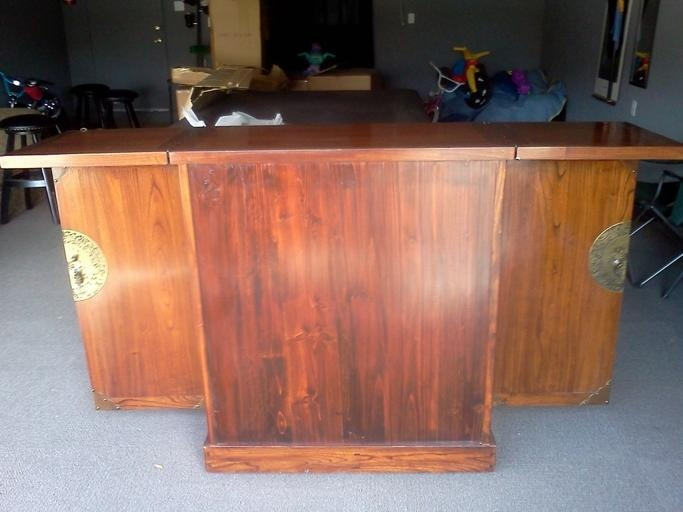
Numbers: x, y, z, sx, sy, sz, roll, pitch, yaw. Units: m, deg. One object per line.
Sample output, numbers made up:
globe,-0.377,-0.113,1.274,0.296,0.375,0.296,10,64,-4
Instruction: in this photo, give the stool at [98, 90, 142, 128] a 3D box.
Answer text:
stool,-3.051,-2.024,7.240,0.478,0.528,1.568,-11,23,-21

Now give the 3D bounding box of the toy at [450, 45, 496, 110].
toy,1.562,-2.131,6.329,0.459,0.659,0.626,0,22,7

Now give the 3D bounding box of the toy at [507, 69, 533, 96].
toy,2.216,-2.166,6.592,0.282,0.251,0.670,4,23,16
